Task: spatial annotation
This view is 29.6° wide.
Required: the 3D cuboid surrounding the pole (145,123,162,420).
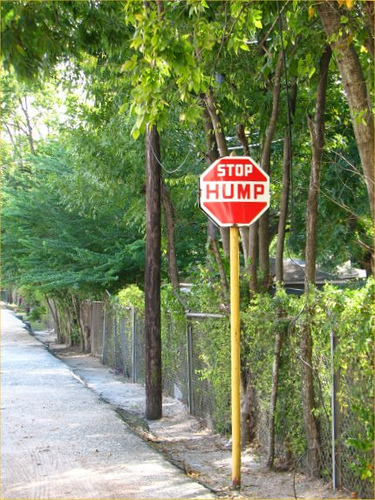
[{"bbox_3d":[-0.491,0.320,10.433,0.269,4.305,0.513,1,-4,-3],"label":"pole"}]
